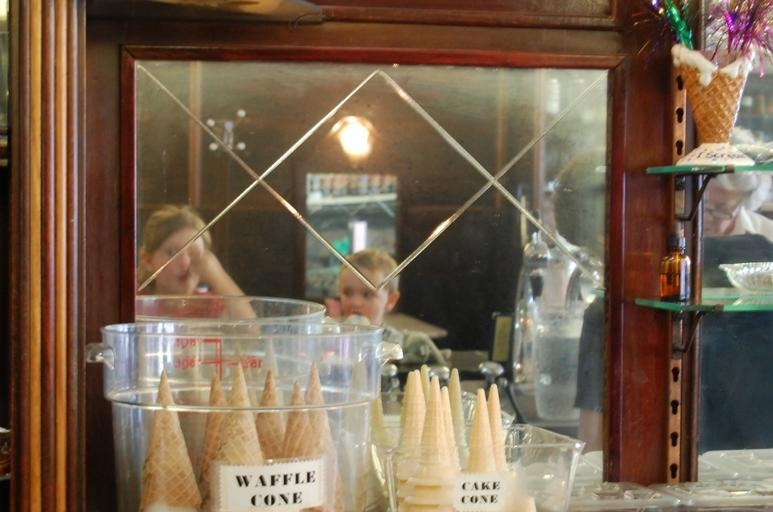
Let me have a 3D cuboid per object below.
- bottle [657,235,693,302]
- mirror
[{"bbox_3d":[0.587,0.028,2.391,0.060,0.139,0.034,-4,-5,13],"label":"bottle"},{"bbox_3d":[-0.050,-0.004,2.346,0.930,0.507,0.025,1,-8,-8],"label":"mirror"}]
